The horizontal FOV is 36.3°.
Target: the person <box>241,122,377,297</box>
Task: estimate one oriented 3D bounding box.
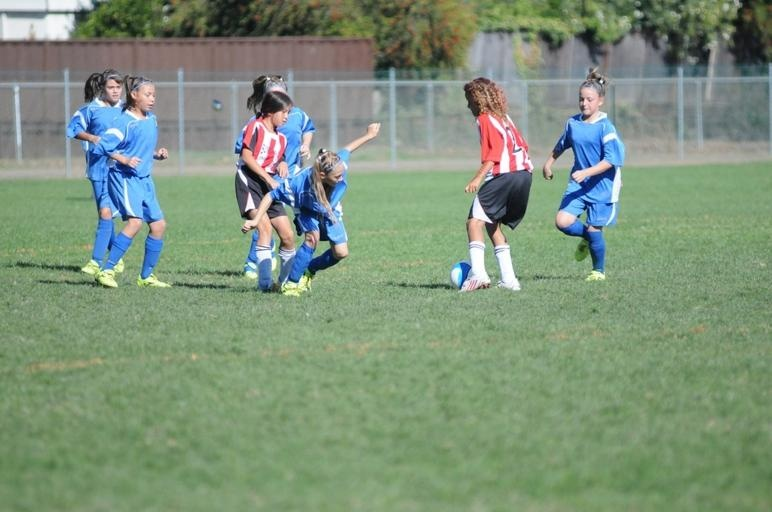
[{"bbox_3d":[-0.955,-0.378,14.357,1.047,1.773,0.708,-2,6,5],"label":"person"}]

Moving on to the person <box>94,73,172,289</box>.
[{"bbox_3d":[-3.232,-0.916,14.906,0.790,2.664,0.488,-4,6,-15],"label":"person"}]

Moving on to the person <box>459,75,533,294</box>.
[{"bbox_3d":[1.357,-0.880,14.594,0.865,2.624,0.787,-1,6,15],"label":"person"}]

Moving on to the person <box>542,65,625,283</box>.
[{"bbox_3d":[2.593,-1.045,15.146,0.907,2.680,0.932,-2,6,10],"label":"person"}]

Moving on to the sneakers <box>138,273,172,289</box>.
[{"bbox_3d":[-2.958,0.327,15.056,0.500,0.225,0.173,0,3,-3],"label":"sneakers"}]

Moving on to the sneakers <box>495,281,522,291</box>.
[{"bbox_3d":[1.531,0.367,14.689,0.284,0.134,0.117,5,7,25],"label":"sneakers"}]

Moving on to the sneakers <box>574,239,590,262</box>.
[{"bbox_3d":[2.562,-0.072,15.499,0.130,0.374,0.158,14,6,21],"label":"sneakers"}]

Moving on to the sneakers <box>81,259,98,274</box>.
[{"bbox_3d":[-3.818,0.159,15.361,0.143,0.130,0.268,11,-8,7],"label":"sneakers"}]

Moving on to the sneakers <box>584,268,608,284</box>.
[{"bbox_3d":[2.675,0.276,15.086,0.113,0.138,0.314,-3,-4,31],"label":"sneakers"}]
